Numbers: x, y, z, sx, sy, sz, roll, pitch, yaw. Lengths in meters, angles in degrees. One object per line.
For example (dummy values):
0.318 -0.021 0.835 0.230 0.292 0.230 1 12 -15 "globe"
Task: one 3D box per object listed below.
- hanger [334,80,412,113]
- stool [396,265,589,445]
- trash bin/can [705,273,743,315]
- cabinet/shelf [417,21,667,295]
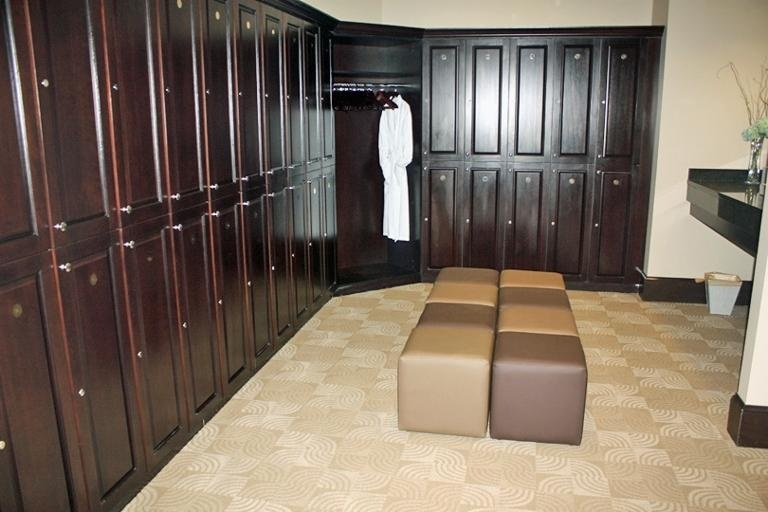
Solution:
-0.280 -1.778 5.911 1.147 0.377 0.333 -1 19 -13 "hanger"
0.795 0.744 4.062 1.237 0.668 1.301 3 17 8 "stool"
3.480 0.386 5.480 0.300 0.387 0.290 8 18 22 "trash bin/can"
1.847 -1.201 5.861 3.191 3.492 1.036 1 10 5 "cabinet/shelf"
